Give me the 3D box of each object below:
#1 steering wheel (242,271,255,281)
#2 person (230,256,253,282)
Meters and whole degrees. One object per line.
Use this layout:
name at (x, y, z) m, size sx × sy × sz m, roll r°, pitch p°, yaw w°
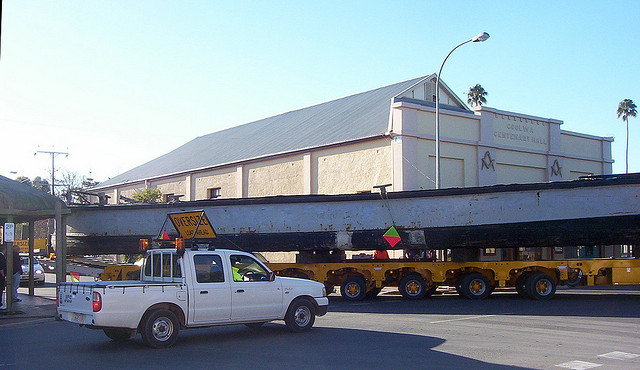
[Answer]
steering wheel at (-2.378, 3.065, 19.806) m, size 0.243 × 0.336 × 0.124 m, roll 1°, pitch -14°, yaw -3°
person at (-2.747, 2.922, 19.576) m, size 0.786 × 0.774 × 0.196 m, roll 27°, pitch -31°, yaw -35°
